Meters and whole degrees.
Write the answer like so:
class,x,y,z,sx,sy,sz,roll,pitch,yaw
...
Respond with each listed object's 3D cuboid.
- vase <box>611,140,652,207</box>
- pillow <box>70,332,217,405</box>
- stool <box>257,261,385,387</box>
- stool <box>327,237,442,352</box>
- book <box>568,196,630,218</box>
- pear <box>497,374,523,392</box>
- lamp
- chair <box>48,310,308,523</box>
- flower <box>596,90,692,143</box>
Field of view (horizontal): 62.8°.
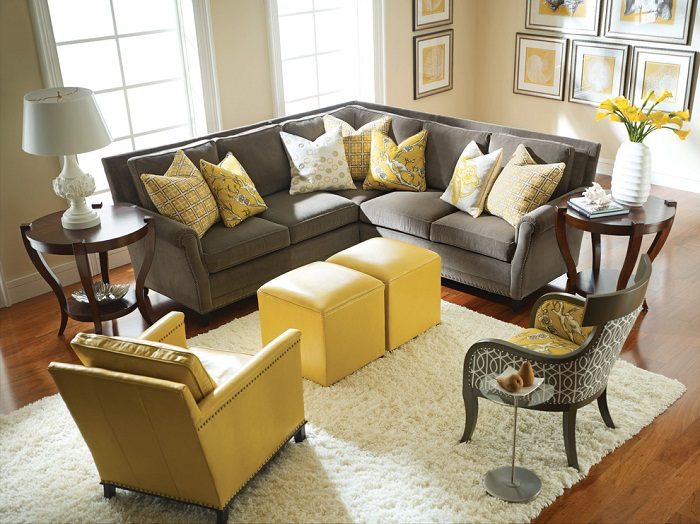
class,x,y,z,sx,sy,sz,roll,pitch,yaw
vase,1.954,-0.599,3.967,0.240,0.425,0.236,8,26,25
pillow,-0.915,0.428,2.531,0.364,0.365,0.401,10,22,22
stool,-0.139,0.279,3.853,0.695,0.688,0.742,16,27,39
stool,0.284,0.099,4.157,0.696,0.683,0.733,16,28,41
book,1.688,-0.364,3.905,0.391,0.096,0.230,8,26,25
pear,0.717,0.539,2.595,0.107,0.067,0.062,5,49,49
lamp,-1.877,-0.688,3.879,0.459,0.896,0.480,18,31,40
chair,-0.785,0.632,3.108,0.825,1.034,1.153,8,25,23
flower,2.669,-1.302,5.109,0.816,0.527,0.874,10,23,25
